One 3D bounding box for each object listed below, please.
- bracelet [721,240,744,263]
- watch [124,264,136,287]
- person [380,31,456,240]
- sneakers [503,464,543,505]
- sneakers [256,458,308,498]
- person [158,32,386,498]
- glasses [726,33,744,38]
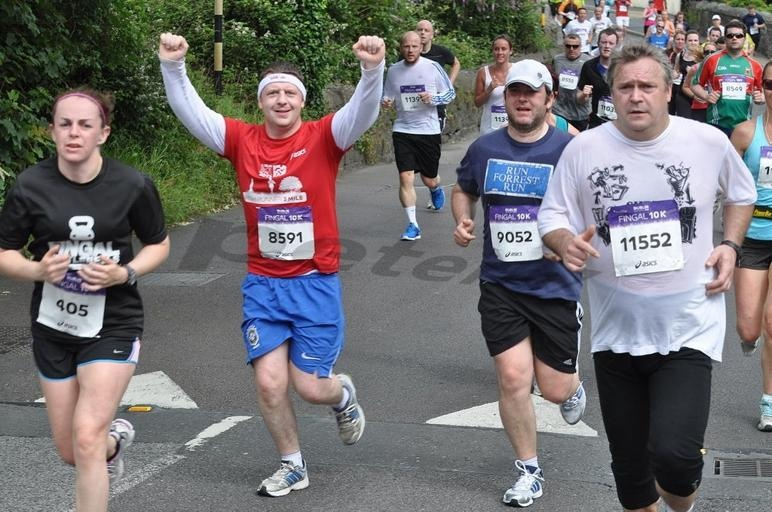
[{"bbox_3d":[1.856,-0.027,3.896,0.075,0.111,0.117,-47,7,7],"label":"bracelet"},{"bbox_3d":[-1.419,0.111,4.021,0.080,0.103,0.118,10,-8,-18],"label":"watch"},{"bbox_3d":[0.475,-1.905,11.190,1.064,2.998,1.483,1,14,3],"label":"person"},{"bbox_3d":[0.866,1.435,4.585,0.138,0.163,0.358,4,1,26],"label":"sneakers"},{"bbox_3d":[-0.642,1.429,4.702,0.357,0.166,0.154,1,-2,-43],"label":"sneakers"},{"bbox_3d":[-0.647,-0.001,4.923,1.063,2.859,1.131,-10,18,-35],"label":"person"},{"bbox_3d":[5.709,-3.596,11.855,0.271,0.072,0.173,5,15,16],"label":"glasses"}]
